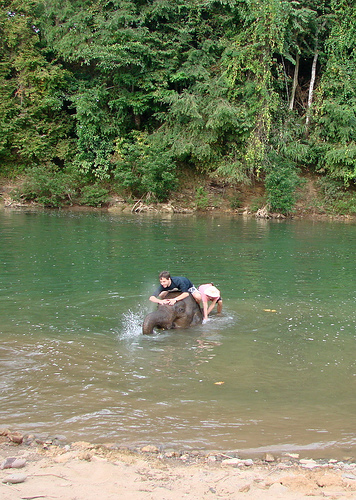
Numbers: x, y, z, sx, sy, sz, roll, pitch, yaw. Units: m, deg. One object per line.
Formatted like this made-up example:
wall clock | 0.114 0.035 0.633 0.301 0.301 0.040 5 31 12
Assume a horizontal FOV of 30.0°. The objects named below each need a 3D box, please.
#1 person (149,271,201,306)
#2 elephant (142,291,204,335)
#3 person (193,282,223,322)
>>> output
person | -0.124 0.679 12.445 1.056 0.468 1.375 1 6 33
elephant | -0.151 1.172 11.922 0.556 0.496 1.091 10 22 40
person | 0.595 0.957 12.657 0.557 0.719 0.679 -7 40 -13
